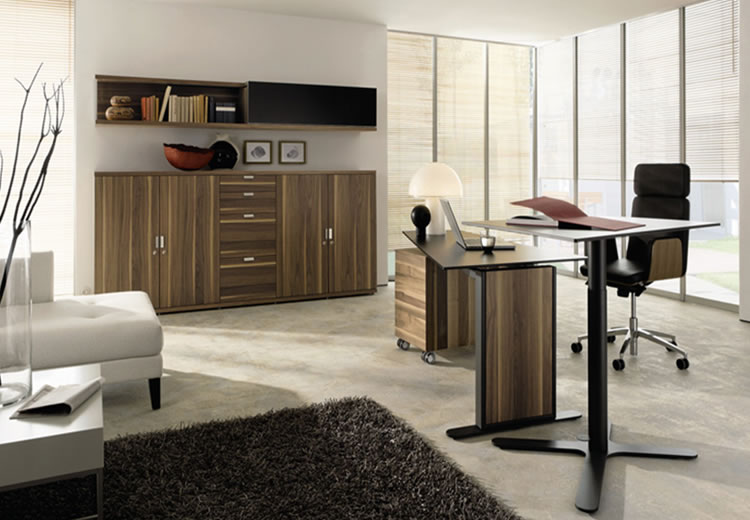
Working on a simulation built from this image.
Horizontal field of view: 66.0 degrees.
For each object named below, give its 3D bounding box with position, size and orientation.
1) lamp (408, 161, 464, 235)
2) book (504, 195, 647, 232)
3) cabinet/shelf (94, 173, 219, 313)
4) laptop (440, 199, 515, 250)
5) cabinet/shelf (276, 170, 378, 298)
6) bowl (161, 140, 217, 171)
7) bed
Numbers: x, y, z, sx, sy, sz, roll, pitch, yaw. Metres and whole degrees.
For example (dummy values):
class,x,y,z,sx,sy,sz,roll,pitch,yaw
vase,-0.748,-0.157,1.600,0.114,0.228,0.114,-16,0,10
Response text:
class,x,y,z,sx,sy,sz,roll,pitch,yaw
lamp,0.560,-0.604,5.638,0.690,0.782,0.668,-2,5,-8
book,1.158,-0.271,3.251,0.659,0.135,0.446,8,14,35
cabinet/shelf,-2.394,-0.242,6.155,1.576,1.840,0.674,-2,3,-27
laptop,0.771,-0.212,4.387,0.477,0.312,0.526,-1,4,-13
cabinet/shelf,-0.640,-0.350,6.998,1.562,1.722,0.631,-3,7,-21
bowl,-2.099,-1.160,6.509,0.533,0.291,0.248,-4,12,-16
bed,-2.056,0.504,4.286,1.188,0.875,1.167,-2,6,-27
